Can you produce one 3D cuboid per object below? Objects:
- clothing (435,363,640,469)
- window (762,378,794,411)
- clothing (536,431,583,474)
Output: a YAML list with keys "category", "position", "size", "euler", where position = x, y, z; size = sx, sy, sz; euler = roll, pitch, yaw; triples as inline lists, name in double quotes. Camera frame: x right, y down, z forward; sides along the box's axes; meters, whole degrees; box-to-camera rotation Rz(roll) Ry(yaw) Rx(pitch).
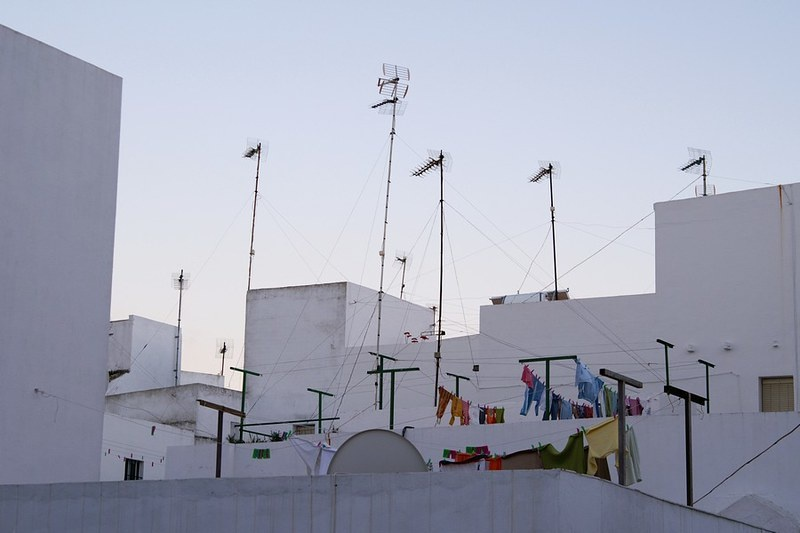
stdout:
- category: "clothing"
  position: [4.972, 4.935, 39.059]
  size: [4.238, 3.020, 4.506]
  euler: [-6, -10, 25]
- category: "window"
  position: [13.570, 4.542, 47.883]
  size: [1.044, 1.168, 0.085]
  euler: [-3, -18, 28]
- category: "clothing"
  position: [4.883, 5.575, 40.328]
  size: [0.984, 1.090, 0.190]
  euler: [-7, -32, 8]
